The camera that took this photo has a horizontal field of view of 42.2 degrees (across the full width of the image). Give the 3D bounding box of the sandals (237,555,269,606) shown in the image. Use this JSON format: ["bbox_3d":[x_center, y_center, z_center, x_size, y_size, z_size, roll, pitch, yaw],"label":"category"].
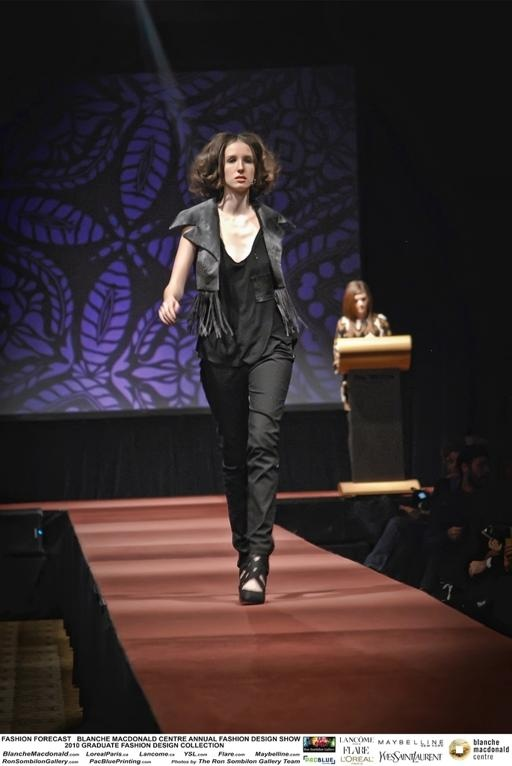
[{"bbox_3d":[-0.007,0.470,1.631,0.068,0.104,0.162,0,2,-1],"label":"sandals"}]

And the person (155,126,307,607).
[{"bbox_3d":[-0.068,-0.086,1.805,0.359,1.252,0.541,0,2,3],"label":"person"}]
